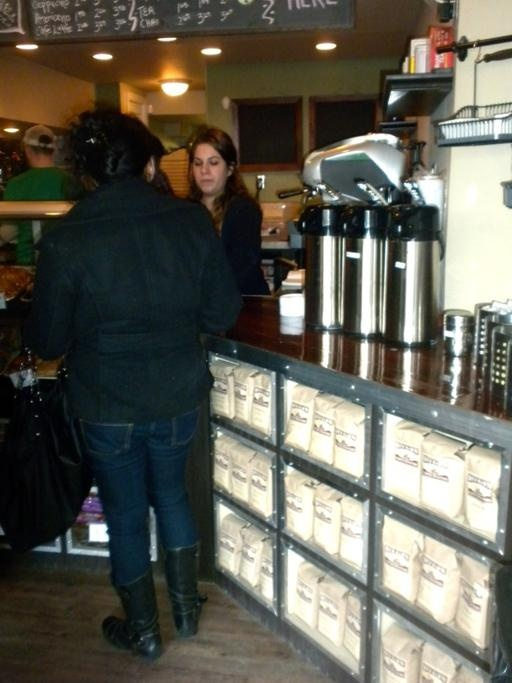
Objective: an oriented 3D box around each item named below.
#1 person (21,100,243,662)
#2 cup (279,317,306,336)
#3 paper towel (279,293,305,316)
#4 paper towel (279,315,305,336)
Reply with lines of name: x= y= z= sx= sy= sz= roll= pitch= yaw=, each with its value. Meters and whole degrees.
person: x=-0.292 y=0.188 z=1.403 sx=0.319 sy=1.442 sz=0.495 roll=4 pitch=10 yaw=33
cup: x=0.110 y=-0.048 z=1.749 sx=0.065 sy=0.061 sz=0.057 roll=3 pitch=5 yaw=13
paper towel: x=0.116 y=-0.126 z=1.842 sx=0.076 sy=0.069 sz=0.070 roll=-5 pitch=13 yaw=-18
paper towel: x=0.110 y=-0.050 z=1.757 sx=0.065 sy=0.046 sz=0.058 roll=3 pitch=6 yaw=7
